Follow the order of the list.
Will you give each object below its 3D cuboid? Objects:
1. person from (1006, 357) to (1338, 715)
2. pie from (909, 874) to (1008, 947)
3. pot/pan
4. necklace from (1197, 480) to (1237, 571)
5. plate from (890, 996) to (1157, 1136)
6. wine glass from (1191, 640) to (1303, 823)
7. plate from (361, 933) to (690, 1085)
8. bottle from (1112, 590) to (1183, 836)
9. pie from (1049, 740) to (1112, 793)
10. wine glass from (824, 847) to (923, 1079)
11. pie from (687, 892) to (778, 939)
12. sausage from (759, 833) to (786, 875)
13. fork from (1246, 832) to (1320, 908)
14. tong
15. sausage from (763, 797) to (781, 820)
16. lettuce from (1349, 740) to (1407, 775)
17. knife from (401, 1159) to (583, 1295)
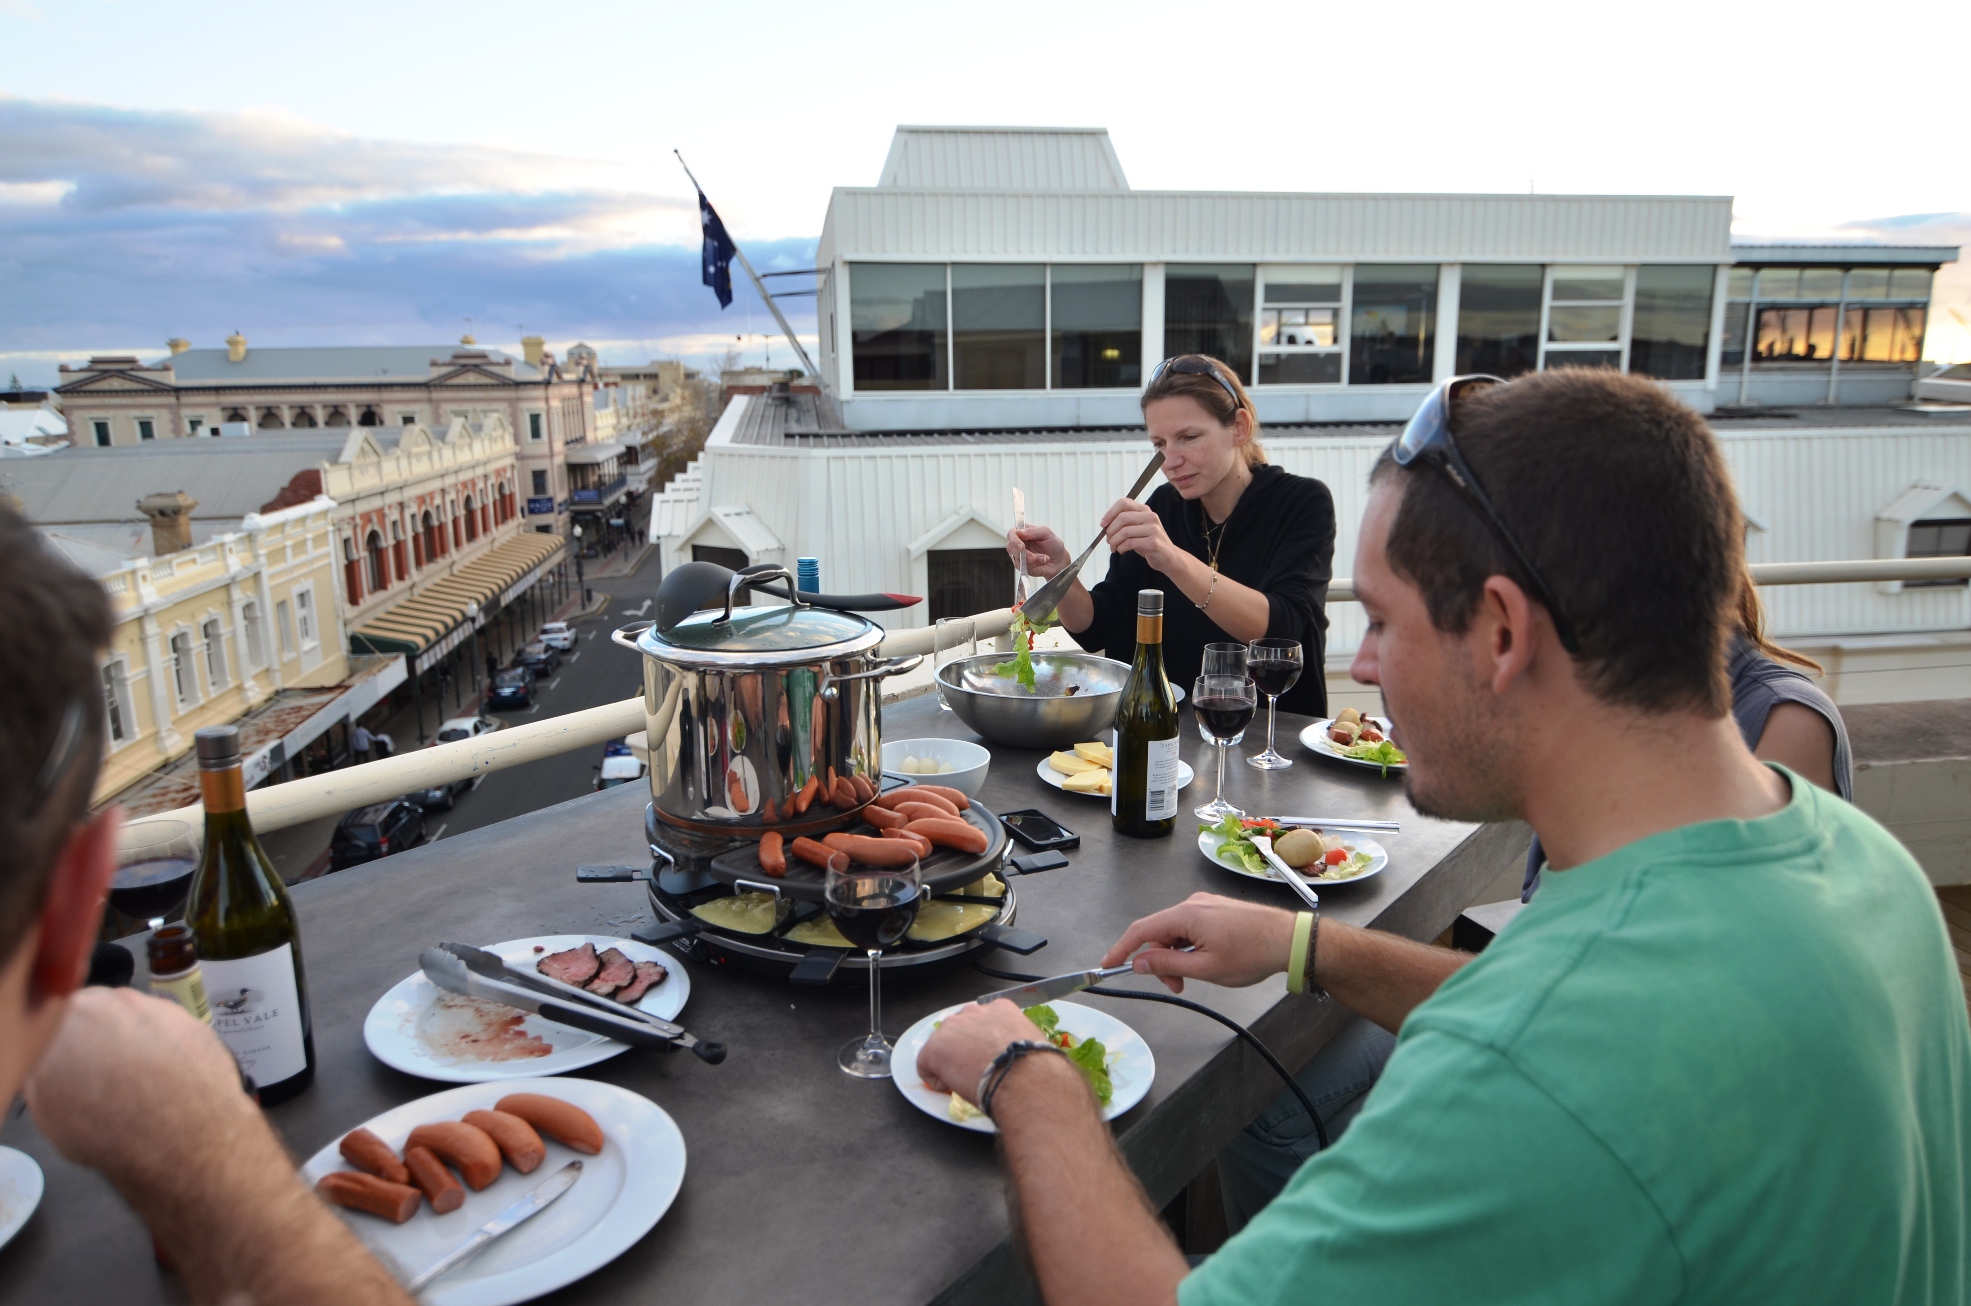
[{"bbox_3d":[0.551,-0.373,3.707,0.796,1.266,0.930,1,0,3],"label":"person"},{"bbox_3d":[-0.037,0.403,1.957,0.092,0.022,0.113,5,20,37],"label":"pie"},{"bbox_3d":[-0.363,0.065,2.111,0.551,0.405,0.392,2,15,8],"label":"pot/pan"},{"bbox_3d":[0.721,-0.397,3.937,0.055,0.223,0.177,21,13,28],"label":"necklace"},{"bbox_3d":[0.034,0.514,1.754,0.332,0.128,0.285,0,8,-26],"label":"plate"},{"bbox_3d":[0.534,0.160,2.710,0.226,0.397,0.293,0,-1,5],"label":"wine glass"},{"bbox_3d":[-0.665,0.486,1.858,0.356,0.146,0.387,2,7,-5],"label":"plate"},{"bbox_3d":[0.296,0.106,2.426,0.137,0.444,0.134,1,7,0],"label":"bottle"},{"bbox_3d":[0.212,0.240,2.696,0.094,0.020,0.095,12,18,38],"label":"pie"},{"bbox_3d":[-0.146,0.436,1.785,0.113,0.300,0.145,0,-2,2],"label":"wine glass"},{"bbox_3d":[-0.380,0.398,1.926,0.080,0.010,0.086,-5,20,-21],"label":"pie"},{"bbox_3d":[-0.331,0.304,1.910,0.033,0.018,0.064,10,15,-11],"label":"sausage"},{"bbox_3d":[0.536,0.375,2.223,0.050,0.020,0.171,-11,37,-15],"label":"fork"},{"bbox_3d":[-0.613,0.494,1.786,0.515,0.069,0.120,11,3,21],"label":"tong"},{"bbox_3d":[-0.332,0.242,1.972,0.027,0.035,0.021,-15,16,-39],"label":"sausage"},{"bbox_3d":[0.843,0.223,2.697,0.111,0.026,0.111,2,15,2],"label":"lettuce"},{"bbox_3d":[-0.552,0.655,1.445,0.037,0.036,0.221,9,17,35],"label":"knife"}]
